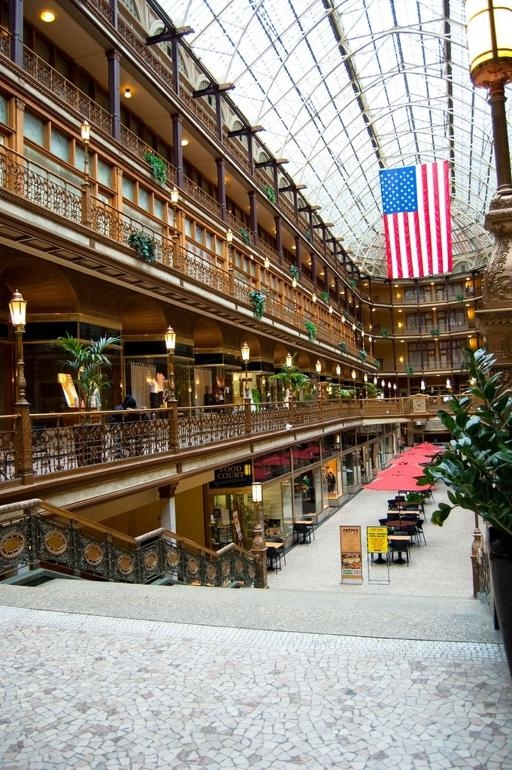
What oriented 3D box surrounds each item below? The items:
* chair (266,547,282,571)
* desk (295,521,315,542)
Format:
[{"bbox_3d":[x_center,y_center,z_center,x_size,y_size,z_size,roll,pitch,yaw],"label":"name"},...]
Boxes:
[{"bbox_3d":[0.710,6.067,18.701,0.459,0.816,1.787,-3,-10,8],"label":"chair"},{"bbox_3d":[2.170,6.392,23.025,0.873,1.136,0.803,0,4,16],"label":"desk"}]
